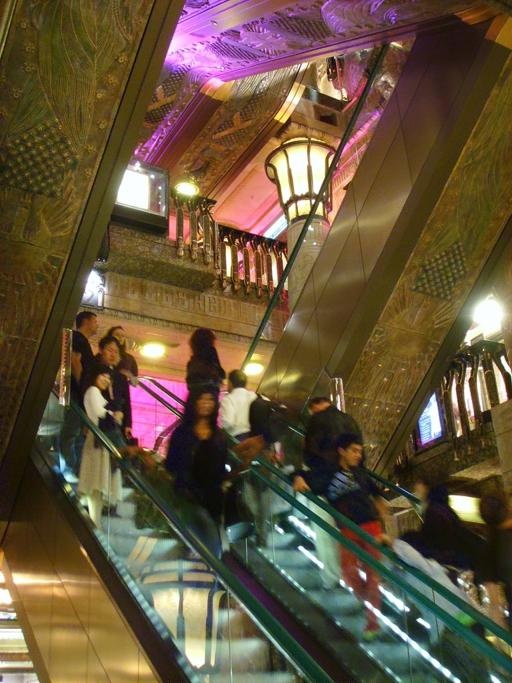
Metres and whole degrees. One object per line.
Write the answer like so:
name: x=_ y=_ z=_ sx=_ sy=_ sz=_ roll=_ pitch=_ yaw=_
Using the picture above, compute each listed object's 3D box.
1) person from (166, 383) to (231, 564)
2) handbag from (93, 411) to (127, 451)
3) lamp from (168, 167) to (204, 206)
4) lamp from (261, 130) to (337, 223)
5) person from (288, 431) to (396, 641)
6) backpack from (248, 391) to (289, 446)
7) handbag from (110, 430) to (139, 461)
person: x=-0.296 y=0.658 z=2.854 sx=0.394 sy=0.818 sz=0.265 roll=8 pitch=-10 yaw=17
handbag: x=-0.943 y=0.574 z=3.445 sx=0.189 sy=0.143 sz=0.099 roll=39 pitch=-48 yaw=4
lamp: x=-1.095 y=-2.422 z=8.567 sx=0.477 sy=0.550 sz=0.296 roll=12 pitch=-9 yaw=-12
lamp: x=0.663 y=-2.251 z=7.645 sx=1.047 sy=1.127 sz=1.033 roll=-9 pitch=-10 yaw=29
person: x=0.401 y=0.940 z=2.579 sx=0.650 sy=0.319 sz=0.967 roll=12 pitch=23 yaw=-3
backpack: x=0.107 y=0.596 z=4.074 sx=0.237 sy=0.440 sz=0.304 roll=-22 pitch=-59 yaw=17
handbag: x=-0.828 y=0.681 z=3.477 sx=0.134 sy=0.056 sz=0.181 roll=11 pitch=25 yaw=-41
